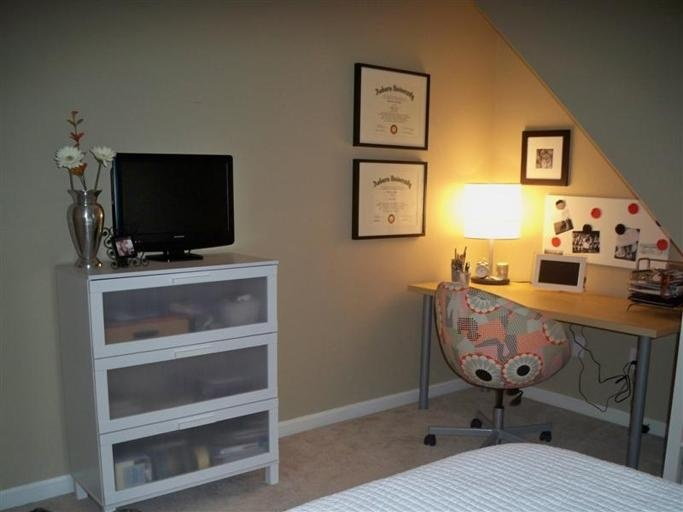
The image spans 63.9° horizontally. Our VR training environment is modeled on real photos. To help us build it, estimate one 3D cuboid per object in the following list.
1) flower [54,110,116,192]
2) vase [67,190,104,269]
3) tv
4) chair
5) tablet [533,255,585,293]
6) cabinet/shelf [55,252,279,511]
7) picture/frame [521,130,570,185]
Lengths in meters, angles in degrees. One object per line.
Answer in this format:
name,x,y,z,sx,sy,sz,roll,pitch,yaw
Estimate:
flower,-1.137,-0.465,2.387,0.259,0.386,0.265,5,29,-11
vase,-1.071,-0.116,2.276,0.135,0.317,0.123,-2,10,-23
tv,-0.787,-0.231,2.475,0.464,0.407,0.120,-5,12,-32
chair,0.752,0.462,2.994,0.830,0.991,0.773,4,6,44
tablet,1.298,0.065,3.284,0.287,0.222,0.171,4,26,14
cabinet/shelf,-0.793,0.536,2.361,0.977,1.302,0.662,-5,6,-40
picture/frame,1.319,-0.635,3.508,0.025,0.381,0.335,-3,8,-39
